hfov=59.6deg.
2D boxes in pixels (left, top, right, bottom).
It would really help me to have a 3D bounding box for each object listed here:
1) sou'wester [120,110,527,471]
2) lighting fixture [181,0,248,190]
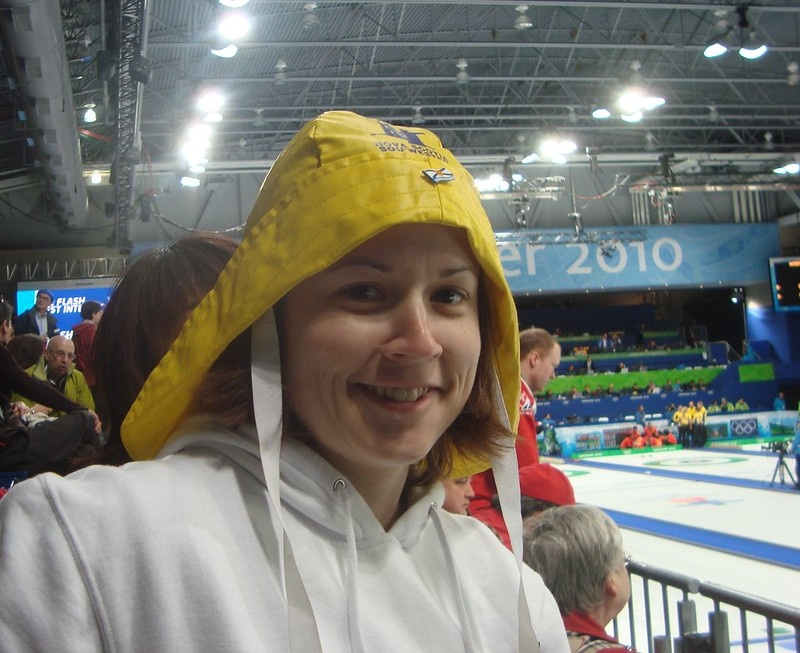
[{"bbox_3d":[-0.134,-0.021,1.390,0.643,0.713,0.879,-8,-16,-11],"label":"sou'wester"},{"bbox_3d":[-2.847,-3.538,10.644,0.367,1.811,0.204,18,2,1],"label":"lighting fixture"}]
